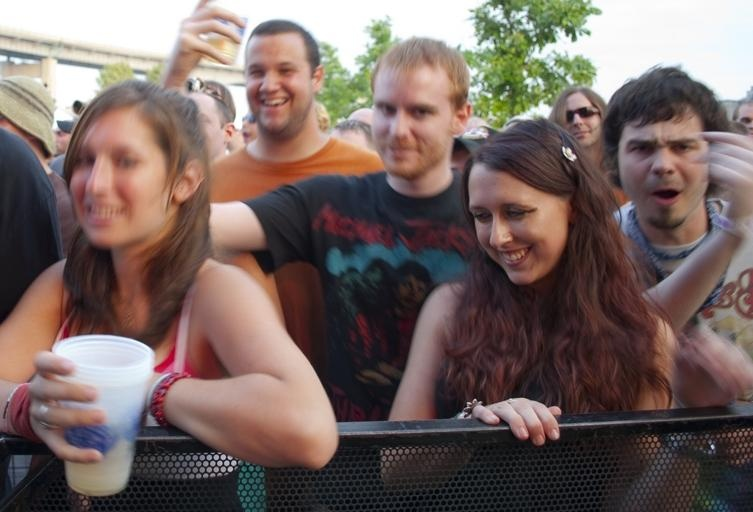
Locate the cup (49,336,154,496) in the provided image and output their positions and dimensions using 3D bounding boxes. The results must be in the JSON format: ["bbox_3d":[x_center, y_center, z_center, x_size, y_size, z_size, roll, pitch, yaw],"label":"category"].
[{"bbox_3d":[-0.764,0.425,1.812,0.262,0.359,0.246,3,16,-1],"label":"cup"}]
